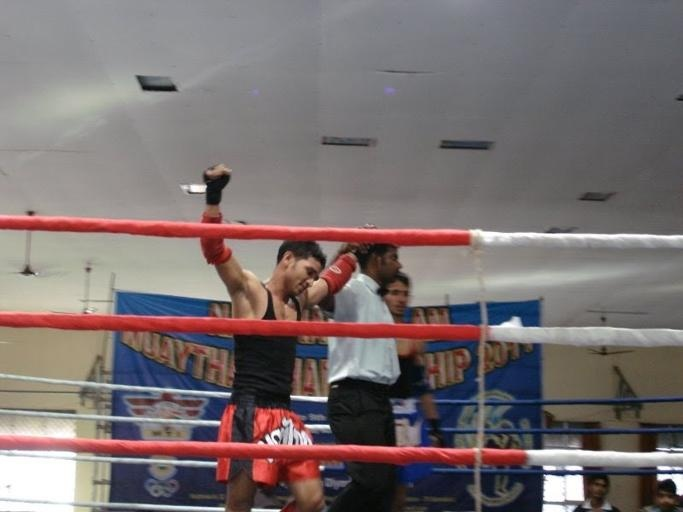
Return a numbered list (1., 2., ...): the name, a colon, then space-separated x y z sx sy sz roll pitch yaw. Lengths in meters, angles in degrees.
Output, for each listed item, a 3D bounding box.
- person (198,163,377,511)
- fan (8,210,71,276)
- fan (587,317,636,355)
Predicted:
1. person: -0.472 0.628 9.389 1.253 2.474 0.717 3 -16 -20
2. fan: -3.044 -0.057 12.458 0.764 0.599 0.655 3 -12 -10
3. fan: 2.630 0.789 12.642 0.488 0.303 0.391 0 -17 1
